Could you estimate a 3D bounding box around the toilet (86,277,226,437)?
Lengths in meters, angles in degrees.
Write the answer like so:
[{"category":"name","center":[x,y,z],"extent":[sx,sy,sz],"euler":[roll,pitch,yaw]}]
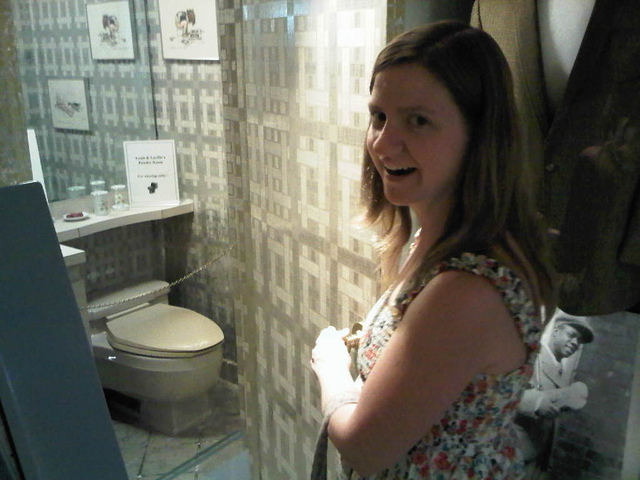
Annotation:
[{"category":"toilet","center":[-0.539,0.374,1.805],"extent":[0.467,0.397,0.369],"euler":[7,13,29]}]
